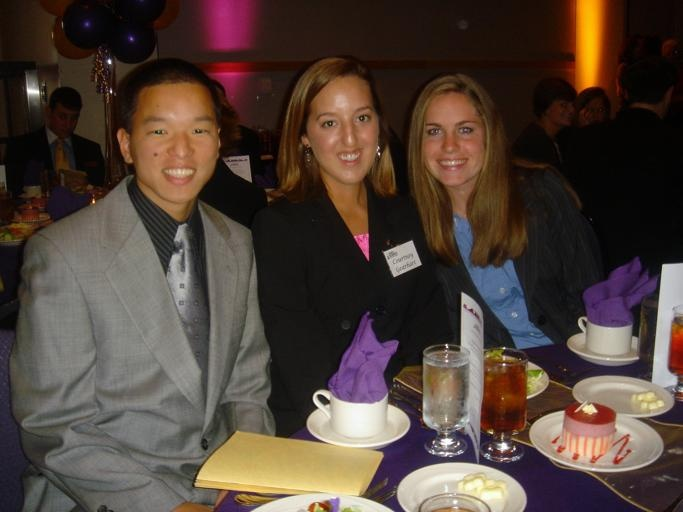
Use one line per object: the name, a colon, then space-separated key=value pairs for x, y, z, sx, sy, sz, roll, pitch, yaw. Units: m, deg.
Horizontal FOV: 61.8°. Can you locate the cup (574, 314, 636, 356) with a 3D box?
cup: x=0.897 y=0.272 z=1.968 sx=0.108 sy=0.074 sz=0.143 roll=-3 pitch=3 yaw=-33

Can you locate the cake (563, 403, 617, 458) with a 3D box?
cake: x=0.615 y=0.432 z=1.448 sx=0.123 sy=0.115 sz=0.124 roll=-1 pitch=7 yaw=5

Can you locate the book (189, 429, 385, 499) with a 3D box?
book: x=-0.130 y=0.521 z=1.410 sx=0.288 sy=0.039 sz=0.202 roll=3 pitch=14 yaw=7
